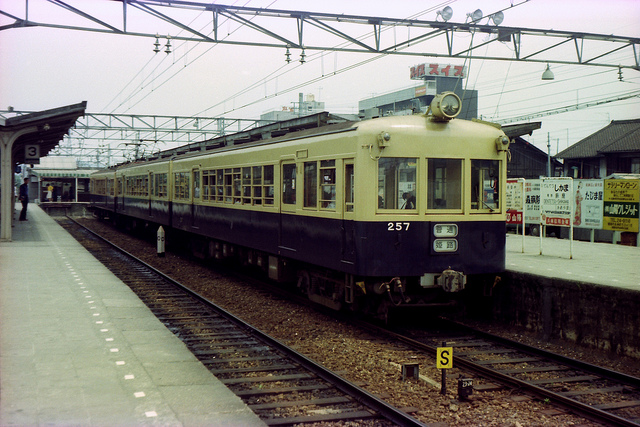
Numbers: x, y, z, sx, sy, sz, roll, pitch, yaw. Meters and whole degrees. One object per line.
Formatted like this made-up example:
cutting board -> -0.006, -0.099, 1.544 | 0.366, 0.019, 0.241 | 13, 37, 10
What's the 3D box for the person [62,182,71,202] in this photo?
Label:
person -> -23.288, -2.049, 55.143 | 0.256, 1.663, 0.690 | 8, 6, 42
